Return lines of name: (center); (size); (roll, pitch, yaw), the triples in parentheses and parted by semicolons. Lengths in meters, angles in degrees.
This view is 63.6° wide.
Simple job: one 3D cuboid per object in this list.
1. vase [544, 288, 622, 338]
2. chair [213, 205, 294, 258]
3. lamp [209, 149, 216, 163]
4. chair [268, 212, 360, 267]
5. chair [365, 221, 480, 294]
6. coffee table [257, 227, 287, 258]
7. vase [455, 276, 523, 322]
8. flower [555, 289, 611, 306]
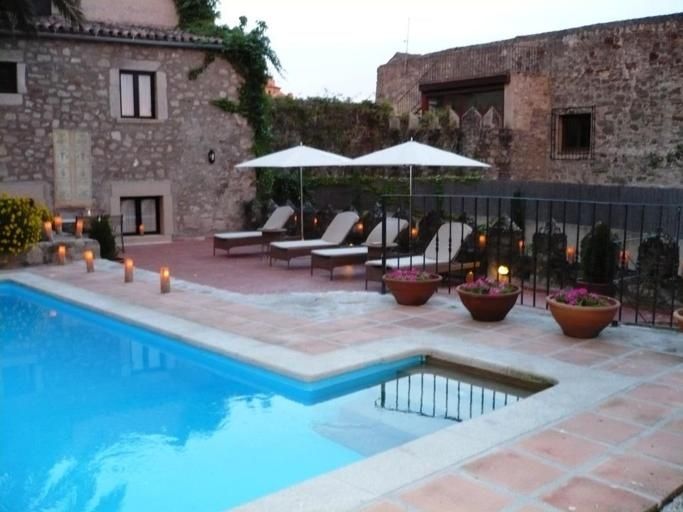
vase: (2.742, 0.644, 6.481); (0.574, 0.447, 0.633); (0, 4, -9)
chair: (-2.084, -0.601, 12.938); (1.682, 1.237, 0.964); (-4, 6, -31)
lamp: (-3.729, -2.843, 15.753); (0.231, 0.398, 0.058); (-8, 13, -28)
chair: (-0.577, -0.359, 11.477); (1.724, 1.211, 0.996); (-1, 5, -35)
chair: (1.305, -0.018, 8.986); (1.646, 1.198, 0.948); (-2, 3, -32)
coffee table: (-1.740, -0.329, 12.927); (0.594, 0.728, 0.652); (0, 2, -25)
vase: (1.839, 0.466, 6.982); (0.546, 0.375, 0.561); (2, 5, 43)
flower: (2.778, 0.499, 6.416); (0.281, 0.108, 0.300); (1, 6, 2)
